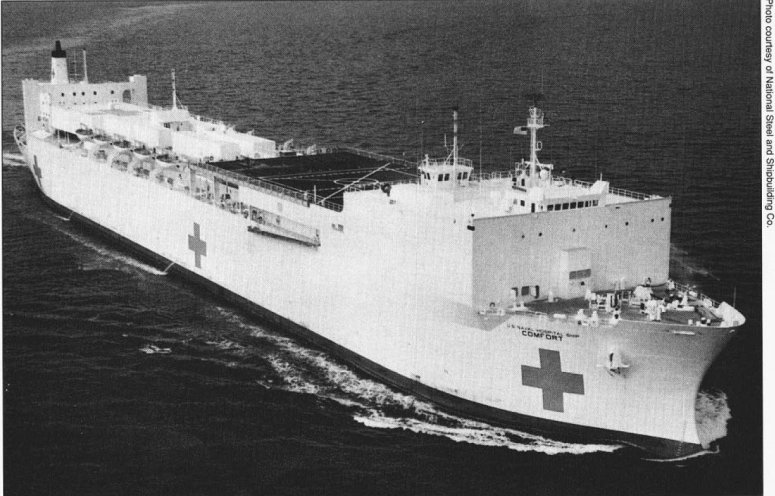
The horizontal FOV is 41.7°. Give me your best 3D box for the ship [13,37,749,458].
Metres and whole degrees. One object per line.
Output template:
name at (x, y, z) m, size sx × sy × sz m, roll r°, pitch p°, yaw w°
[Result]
ship at (-4.264, -1.068, 36.728) m, size 8.018 × 8.265 × 34.107 m, roll -14°, pitch 24°, yaw -38°
